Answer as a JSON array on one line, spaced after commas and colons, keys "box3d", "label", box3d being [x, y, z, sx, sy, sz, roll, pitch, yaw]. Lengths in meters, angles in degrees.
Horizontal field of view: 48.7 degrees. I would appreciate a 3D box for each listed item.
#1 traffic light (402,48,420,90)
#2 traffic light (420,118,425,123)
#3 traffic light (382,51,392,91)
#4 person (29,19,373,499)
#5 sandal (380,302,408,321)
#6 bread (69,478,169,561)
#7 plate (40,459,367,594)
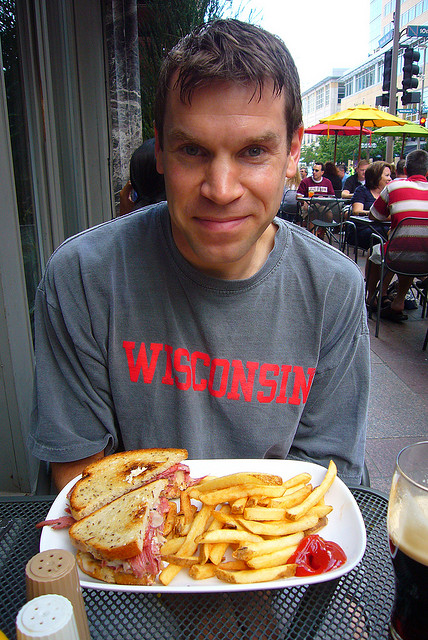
[{"box3d": [4.829, -6.256, 11.644, 0.412, 0.962, 1.839, 6, 18, 19], "label": "traffic light"}, {"box3d": [6.897, -6.610, 15.694, 0.170, 0.172, 0.041, 8, 62, 11], "label": "traffic light"}, {"box3d": [4.650, -6.743, 12.771, 0.211, 1.071, 0.819, 5, 17, 17], "label": "traffic light"}, {"box3d": [-0.022, -0.163, 1.360, 1.026, 1.286, 0.375, -1, 17, -3], "label": "person"}, {"box3d": [2.331, -0.108, 6.269, 0.164, 0.190, 0.444, -4, 12, -16], "label": "sandal"}, {"box3d": [-0.169, 0.385, 0.937, 0.144, 0.046, 0.300, -6, 1, 13], "label": "bread"}, {"box3d": [0.057, 0.407, 0.947, 0.400, 0.044, 0.268, -1, 13, -3], "label": "plate"}]
